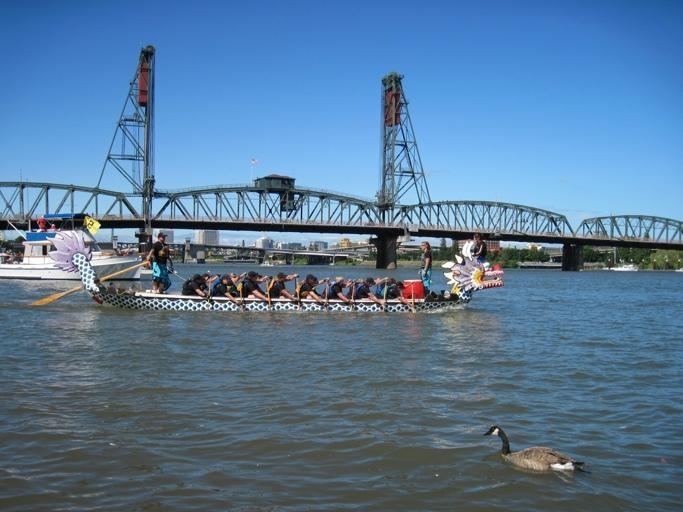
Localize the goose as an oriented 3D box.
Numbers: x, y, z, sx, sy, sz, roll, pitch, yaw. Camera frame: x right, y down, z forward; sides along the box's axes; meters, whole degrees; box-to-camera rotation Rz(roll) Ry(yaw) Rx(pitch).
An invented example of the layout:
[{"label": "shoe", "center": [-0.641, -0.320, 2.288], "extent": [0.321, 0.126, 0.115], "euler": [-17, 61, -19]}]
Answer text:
[{"label": "goose", "center": [3.458, 3.643, 14.964], "extent": [1.732, 0.888, 0.548], "euler": [-2, 5, 22]}]
